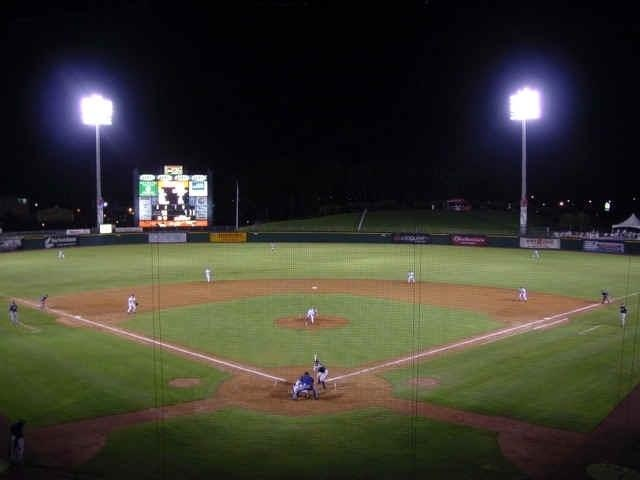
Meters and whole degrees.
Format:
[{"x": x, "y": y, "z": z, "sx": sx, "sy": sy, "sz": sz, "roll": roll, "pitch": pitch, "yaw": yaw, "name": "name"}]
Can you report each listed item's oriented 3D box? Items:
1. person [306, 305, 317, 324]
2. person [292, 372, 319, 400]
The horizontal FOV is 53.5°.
[{"x": -0.453, "y": 3.720, "z": 31.730, "sx": 0.548, "sy": 0.683, "sz": 1.649, "roll": -1, "pitch": 10, "yaw": -1, "name": "person"}, {"x": -0.571, "y": 5.102, "z": 22.313, "sx": 0.946, "sy": 0.725, "sz": 0.902, "roll": -1, "pitch": 10, "yaw": -4, "name": "person"}]
